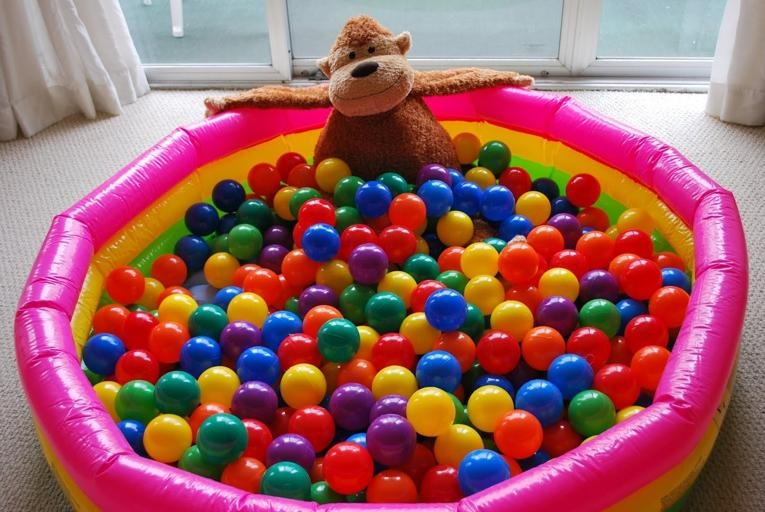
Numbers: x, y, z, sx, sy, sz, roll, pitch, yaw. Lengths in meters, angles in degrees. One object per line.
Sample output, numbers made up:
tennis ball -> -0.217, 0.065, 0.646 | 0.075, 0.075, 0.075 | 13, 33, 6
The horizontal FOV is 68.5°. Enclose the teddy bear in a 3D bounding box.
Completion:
teddy bear -> -0.025, -0.512, 2.198 | 1.261, 0.773, 0.453 | -7, -3, -7

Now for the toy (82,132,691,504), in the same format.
toy -> 0.013, 0.133, 1.806 | 1.893, 0.752, 1.186 | -4, 20, -9
